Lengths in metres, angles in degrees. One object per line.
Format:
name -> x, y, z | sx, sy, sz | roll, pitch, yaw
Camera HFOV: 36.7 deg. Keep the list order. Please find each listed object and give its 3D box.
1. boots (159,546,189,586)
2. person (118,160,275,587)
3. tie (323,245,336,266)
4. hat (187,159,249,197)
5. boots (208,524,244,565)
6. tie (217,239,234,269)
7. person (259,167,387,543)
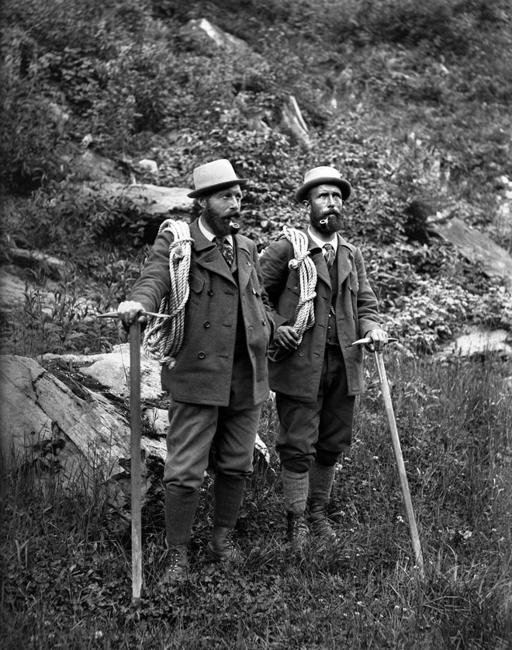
boots -> -0.421, 1.253, 4.013 | 0.134, 0.133, 0.199 | 5, 7, -6
person -> -0.284, 0.201, 4.201 | 0.992, 2.208, 0.455 | -1, 8, -42
tie -> 0.454, -0.428, 4.789 | 0.083, 0.132, 0.031 | -2, 0, -43
hat -> -0.256, -0.798, 4.276 | 0.203, 0.113, 0.242 | -20, 3, -28
boots -> -0.180, 1.204, 4.289 | 0.231, 0.260, 0.110 | -3, 9, -19
tie -> -0.163, -0.400, 4.278 | 0.084, 0.164, 0.035 | -4, -9, -23
person -> 0.373, 0.153, 4.748 | 0.784, 2.252, 0.683 | 5, 6, -1
